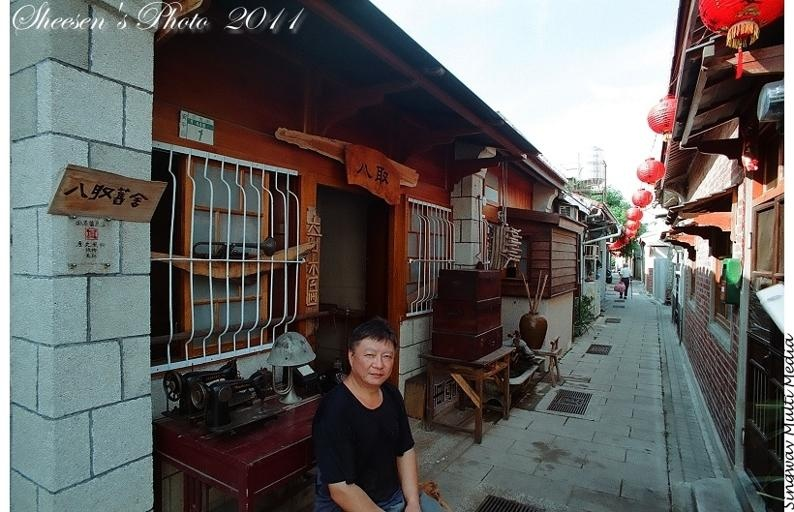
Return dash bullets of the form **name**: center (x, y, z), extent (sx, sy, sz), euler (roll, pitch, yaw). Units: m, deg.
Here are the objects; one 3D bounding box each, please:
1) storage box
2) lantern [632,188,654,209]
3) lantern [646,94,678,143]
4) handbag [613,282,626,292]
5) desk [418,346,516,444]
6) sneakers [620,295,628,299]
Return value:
- **storage box**: center (0.953, 0.773, 7.144), extent (0.978, 1.398, 1.487), euler (-2, -3, 27)
- **lantern**: center (4.742, -1.126, 9.777), extent (0.326, 0.351, 0.510), euler (1, 4, 24)
- **lantern**: center (3.168, -1.714, 6.043), extent (0.275, 0.532, 0.662), euler (1, 4, 27)
- **handbag**: center (10.035, 1.438, 22.995), extent (0.541, 0.529, 0.353), euler (-3, -3, 43)
- **desk**: center (1.013, 1.669, 6.921), extent (1.044, 1.110, 1.386), euler (-3, -4, 32)
- **sneakers**: center (10.807, 1.953, 24.110), extent (0.243, 0.114, 0.339), euler (-3, -5, -14)
